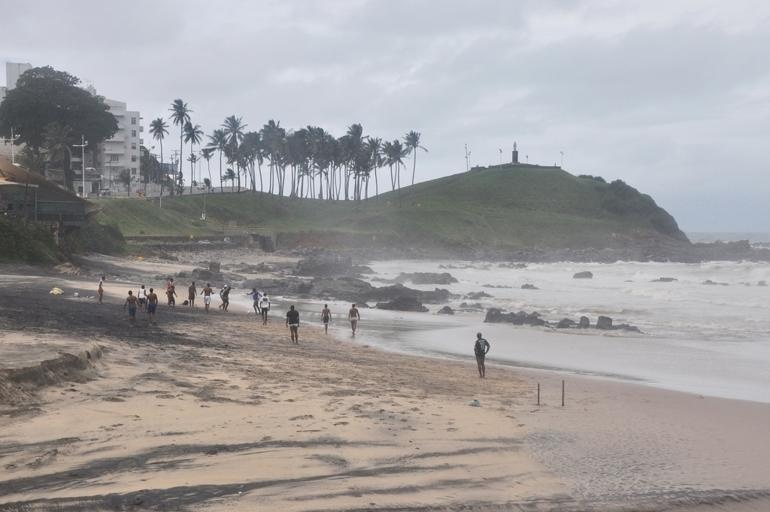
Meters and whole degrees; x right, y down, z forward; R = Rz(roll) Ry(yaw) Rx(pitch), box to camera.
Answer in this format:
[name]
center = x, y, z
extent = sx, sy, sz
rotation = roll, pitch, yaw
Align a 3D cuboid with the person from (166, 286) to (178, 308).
[person]
center = -12.981, 2.380, 55.071
extent = 0.442, 1.313, 1.574
rotation = 2, 4, -14
